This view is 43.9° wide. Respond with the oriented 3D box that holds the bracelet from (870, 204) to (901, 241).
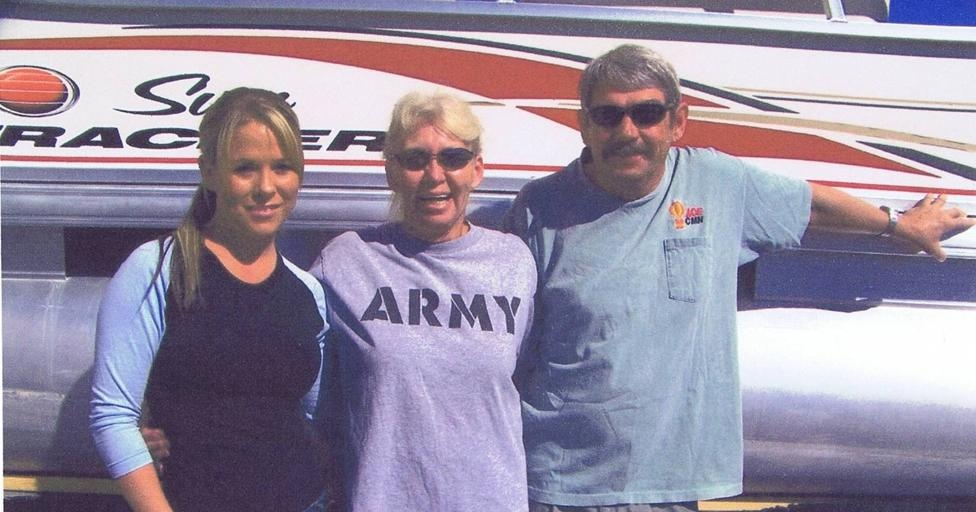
[{"bbox_3d":[1.937,-0.172,5.871,0.134,0.136,0.153,9,-18,18],"label":"bracelet"}]
